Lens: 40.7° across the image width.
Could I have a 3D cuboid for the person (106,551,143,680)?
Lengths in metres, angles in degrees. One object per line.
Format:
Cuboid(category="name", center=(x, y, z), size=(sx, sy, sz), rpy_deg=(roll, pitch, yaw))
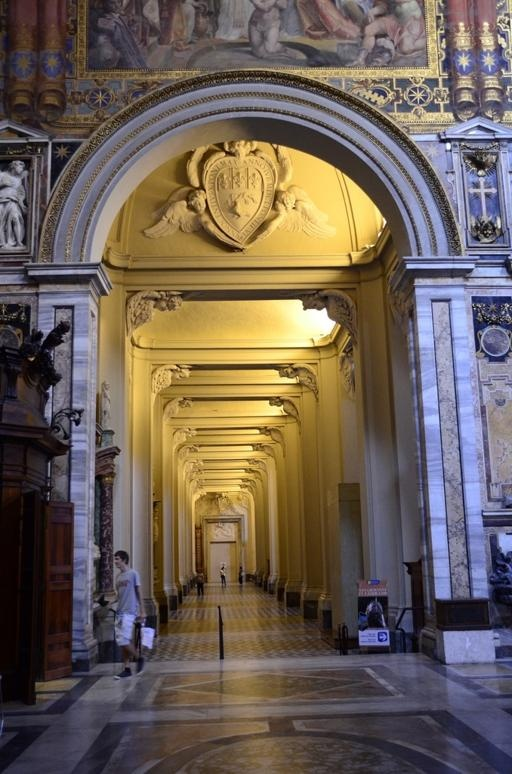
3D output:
Cuboid(category="person", center=(-1.382, 2.461, 7.488), size=(0.291, 1.330, 0.714), rpy_deg=(0, -12, -11))
